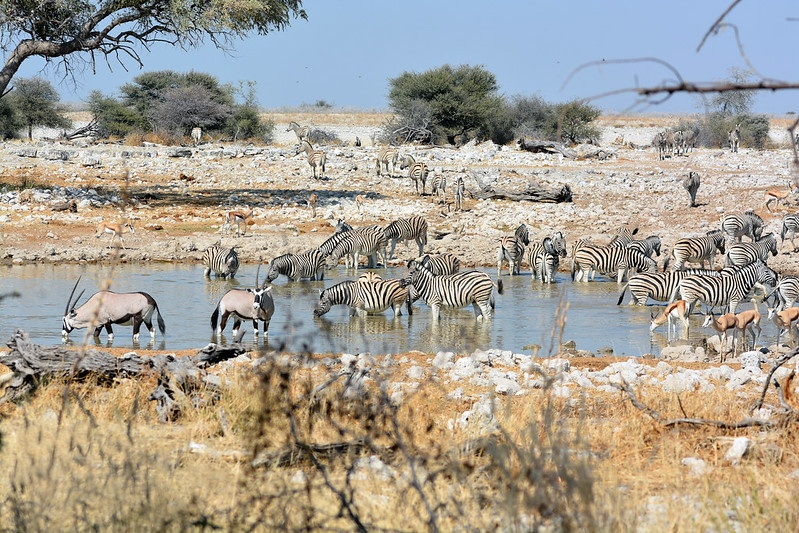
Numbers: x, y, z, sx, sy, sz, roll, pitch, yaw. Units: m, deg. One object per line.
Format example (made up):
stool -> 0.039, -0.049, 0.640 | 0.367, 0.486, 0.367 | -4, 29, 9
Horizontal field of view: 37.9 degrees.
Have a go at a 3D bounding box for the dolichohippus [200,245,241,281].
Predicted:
dolichohippus -> -4.407, -0.153, 28.802 | 0.528, 0.851, 1.094 | -8, 14, -42

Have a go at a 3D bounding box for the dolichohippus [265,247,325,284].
dolichohippus -> -2.534, 0.016, 28.248 | 1.790, 0.773, 0.488 | -2, 4, -41

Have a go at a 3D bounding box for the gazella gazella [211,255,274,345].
gazella gazella -> -2.975, 0.909, 22.679 | 0.666, 1.118, 1.788 | -8, 8, -38

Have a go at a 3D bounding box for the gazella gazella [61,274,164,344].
gazella gazella -> -5.473, 0.981, 22.217 | 1.940, 1.021, 0.577 | 0, -2, -16

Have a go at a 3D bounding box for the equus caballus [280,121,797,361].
equus caballus -> 4.510, -0.943, 32.080 | 9.884, 4.340, 22.954 | 2, 3, 19
